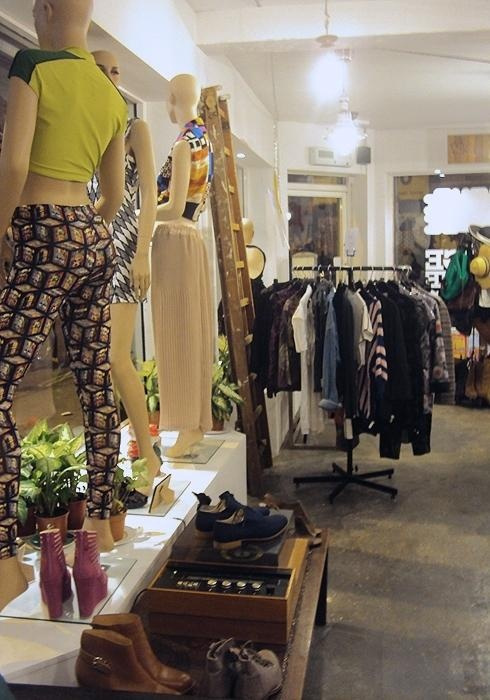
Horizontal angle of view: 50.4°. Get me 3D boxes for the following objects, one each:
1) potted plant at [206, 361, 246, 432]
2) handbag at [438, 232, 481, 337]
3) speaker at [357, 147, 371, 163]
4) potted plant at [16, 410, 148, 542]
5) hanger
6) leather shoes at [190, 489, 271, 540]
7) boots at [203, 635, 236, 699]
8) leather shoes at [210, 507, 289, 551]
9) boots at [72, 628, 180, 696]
[{"bbox_3d":[-0.152,0.287,3.222,0.285,0.474,0.272,2,4,41],"label":"potted plant"},{"bbox_3d":[2.179,-0.653,5.269,0.372,1.001,0.330,1,3,22],"label":"handbag"},{"bbox_3d":[1.346,-2.205,5.912,0.157,0.173,0.082,-5,8,-33],"label":"speaker"},{"bbox_3d":[-0.555,0.396,1.621,0.331,0.271,0.350,6,8,35],"label":"potted plant"},{"bbox_3d":[0.702,-0.488,3.814,0.666,0.220,0.518,-2,14,-3],"label":"hanger"},{"bbox_3d":[-0.018,0.447,1.551,0.287,0.139,0.093,-8,3,-34],"label":"leather shoes"},{"bbox_3d":[-0.048,0.607,0.987,0.040,0.105,0.104,2,27,9],"label":"boots"},{"bbox_3d":[0.011,0.471,1.475,0.175,0.084,0.099,-9,9,-26],"label":"leather shoes"},{"bbox_3d":[-0.246,0.582,1.020,0.223,0.114,0.090,7,-13,4],"label":"boots"}]
